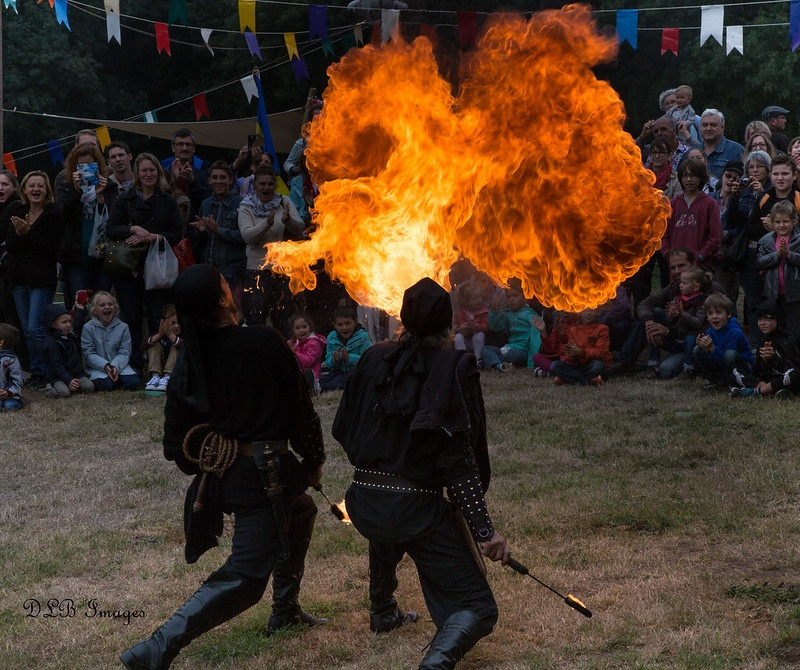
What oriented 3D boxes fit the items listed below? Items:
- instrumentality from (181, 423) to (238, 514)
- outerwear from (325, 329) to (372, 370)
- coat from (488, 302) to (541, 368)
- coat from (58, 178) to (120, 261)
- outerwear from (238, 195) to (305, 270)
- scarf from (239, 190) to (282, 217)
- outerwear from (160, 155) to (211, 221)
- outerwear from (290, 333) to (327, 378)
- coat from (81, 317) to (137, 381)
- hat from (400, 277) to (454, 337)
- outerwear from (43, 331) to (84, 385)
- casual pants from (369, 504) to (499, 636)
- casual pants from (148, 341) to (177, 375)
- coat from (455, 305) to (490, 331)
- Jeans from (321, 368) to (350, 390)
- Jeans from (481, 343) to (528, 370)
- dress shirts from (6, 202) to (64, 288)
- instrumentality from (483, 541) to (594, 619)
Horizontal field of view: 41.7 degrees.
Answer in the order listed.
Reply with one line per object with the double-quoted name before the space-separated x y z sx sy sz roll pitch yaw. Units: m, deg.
"instrumentality" -1.120 0.774 6.144 0.313 0.520 0.141 19 1 33
"outerwear" -0.575 0.172 11.488 0.479 0.515 0.314 -1 -3 17
"coat" 1.322 -0.087 12.172 0.645 1.039 0.550 4 5 15
"coat" -3.431 -1.269 11.717 0.711 1.100 0.683 6 -13 -12
"outerwear" -1.363 -1.085 11.051 0.611 0.852 0.597 0 1 -12
"scarf" -1.448 -1.325 10.911 0.269 0.138 0.330 5 -8 -17
"outerwear" -2.424 -1.713 12.410 0.542 0.685 0.465 -1 19 23
"outerwear" -1.036 0.243 11.600 0.393 0.512 0.450 -11 18 -35
"coat" -3.262 0.149 11.693 0.579 0.705 0.550 -1 4 -13
"hat" 0.159 -0.145 5.995 0.276 0.296 0.312 1 23 5
"outerwear" -3.718 0.261 11.726 0.403 0.598 0.471 -4 5 15
"casual pants" 0.188 1.348 6.034 0.744 0.740 0.282 -9 -1 31
"casual pants" -2.597 0.257 11.460 0.193 0.365 0.137 2 -1 5
"coat" 0.840 -0.170 12.260 0.252 0.173 0.347 -3 28 9
"Jeans" -0.656 0.464 10.717 0.289 0.141 0.379 0 9 8
"Jeans" 1.210 0.278 12.130 0.368 0.181 0.309 1 -6 -14
"dress shirts" -4.072 -0.936 11.656 0.679 0.942 0.412 -7 14 -13
"instrumentality" 0.884 1.578 6.681 0.851 0.092 0.117 36 -35 -12
